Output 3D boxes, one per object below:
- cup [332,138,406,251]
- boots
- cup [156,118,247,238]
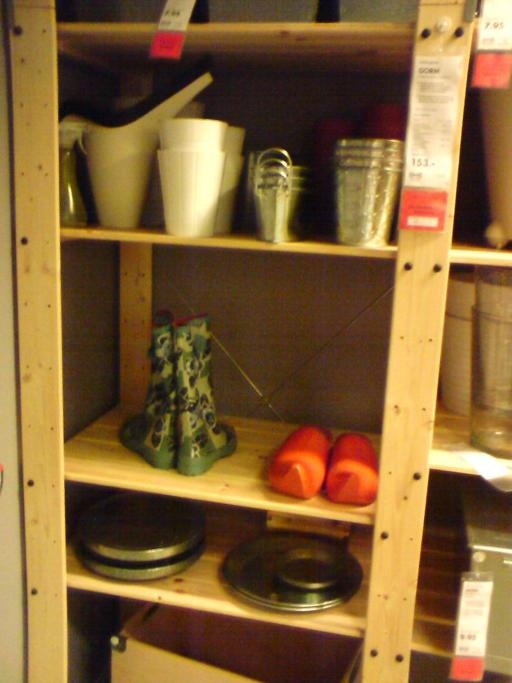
[{"bbox_3d":[0.172,-0.232,1.010,0.107,0.165,0.049,5,13,9],"label":"cup"},{"bbox_3d":[-0.148,0.096,1.256,0.317,0.290,0.219,5,9,31],"label":"boots"},{"bbox_3d":[-0.098,-0.297,1.142,0.141,0.211,0.180,2,13,-1],"label":"cup"}]
